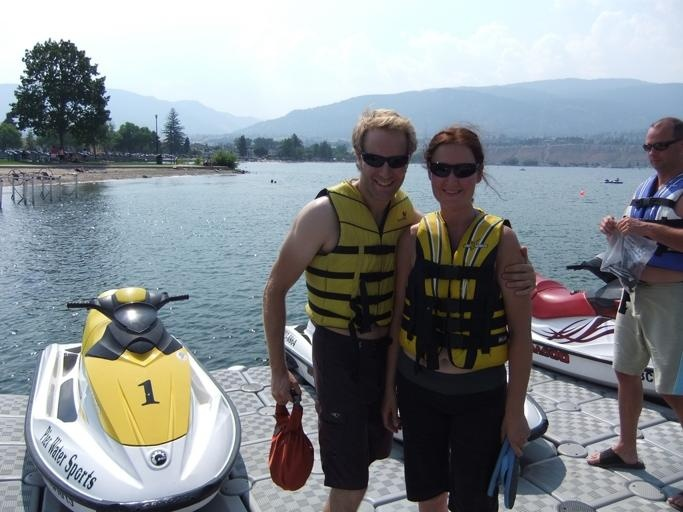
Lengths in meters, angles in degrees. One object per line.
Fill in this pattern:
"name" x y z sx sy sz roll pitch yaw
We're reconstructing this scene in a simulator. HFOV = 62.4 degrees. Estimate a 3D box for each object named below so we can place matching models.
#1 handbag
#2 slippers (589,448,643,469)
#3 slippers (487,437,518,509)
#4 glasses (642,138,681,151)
"handbag" -0.447 1.682 5.000 0.375 1.040 0.293 0 12 -8
"slippers" 3.073 2.277 6.393 0.583 0.205 0.211 2 -4 12
"slippers" 1.306 1.761 4.527 0.202 0.570 0.205 7 14 24
"glasses" 3.330 -1.152 5.878 0.337 0.133 0.101 8 14 28
